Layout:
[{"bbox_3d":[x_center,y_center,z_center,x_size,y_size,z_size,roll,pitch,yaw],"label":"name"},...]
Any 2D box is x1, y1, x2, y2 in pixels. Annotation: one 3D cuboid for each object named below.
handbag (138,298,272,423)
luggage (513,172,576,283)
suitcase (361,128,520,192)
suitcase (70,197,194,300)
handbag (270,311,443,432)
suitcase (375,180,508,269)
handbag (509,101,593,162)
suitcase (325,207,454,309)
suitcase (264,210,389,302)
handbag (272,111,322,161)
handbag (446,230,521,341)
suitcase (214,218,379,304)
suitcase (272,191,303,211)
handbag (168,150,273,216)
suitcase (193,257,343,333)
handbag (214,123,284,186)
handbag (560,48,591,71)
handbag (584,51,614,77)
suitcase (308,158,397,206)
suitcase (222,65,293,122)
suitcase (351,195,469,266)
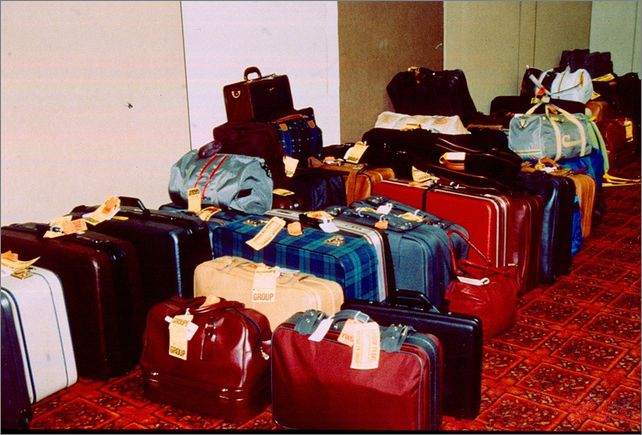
[{"bbox_3d":[-0.570,0.691,3.252,0.809,0.547,0.477,7,15,25],"label":"handbag"},{"bbox_3d":[1.550,0.056,4.346,0.546,0.755,0.490,5,16,28],"label":"luggage"},{"bbox_3d":[0.919,-0.457,4.378,0.906,0.288,0.521,10,41,45],"label":"suitcase"},{"bbox_3d":[-1.162,0.192,3.741,0.781,0.624,0.247,11,27,17],"label":"suitcase"},{"bbox_3d":[0.163,0.758,2.856,0.590,0.401,0.248,8,21,28],"label":"handbag"},{"bbox_3d":[0.820,0.072,4.197,0.990,0.608,0.302,14,24,42],"label":"suitcase"},{"bbox_3d":[1.840,-0.689,4.718,0.701,0.441,0.360,-8,12,-31],"label":"handbag"},{"bbox_3d":[0.326,0.280,3.799,0.732,0.612,0.389,1,31,19],"label":"suitcase"},{"bbox_3d":[0.029,0.237,3.336,0.458,0.408,0.151,16,34,40],"label":"suitcase"},{"bbox_3d":[-0.106,-0.661,4.732,0.289,0.374,0.418,-17,11,-24],"label":"handbag"},{"bbox_3d":[0.956,0.417,3.537,0.626,0.648,0.359,-13,11,-42],"label":"handbag"},{"bbox_3d":[-0.170,0.390,3.605,0.894,0.722,0.286,14,28,15],"label":"suitcase"},{"bbox_3d":[-0.249,-0.117,4.188,0.205,0.147,0.154,3,13,27],"label":"suitcase"},{"bbox_3d":[-0.669,-0.244,4.119,0.869,0.415,0.459,6,11,38],"label":"handbag"},{"bbox_3d":[-0.422,0.474,3.248,0.706,0.405,0.231,8,-16,-30],"label":"suitcase"},{"bbox_3d":[-0.518,-0.513,4.337,0.342,0.388,0.423,-16,-6,25],"label":"handbag"},{"bbox_3d":[3.056,-1.890,7.126,0.215,0.252,0.882,4,13,32],"label":"handbag"},{"bbox_3d":[3.427,-1.876,7.345,0.374,0.337,0.129,0,-2,4],"label":"handbag"},{"bbox_3d":[0.163,-0.330,4.638,0.569,0.493,0.294,-4,19,16],"label":"suitcase"},{"bbox_3d":[-0.507,-0.986,4.695,0.289,0.371,0.559,1,22,28],"label":"suitcase"},{"bbox_3d":[0.493,0.078,3.897,0.880,0.315,0.856,8,4,-45],"label":"suitcase"}]
